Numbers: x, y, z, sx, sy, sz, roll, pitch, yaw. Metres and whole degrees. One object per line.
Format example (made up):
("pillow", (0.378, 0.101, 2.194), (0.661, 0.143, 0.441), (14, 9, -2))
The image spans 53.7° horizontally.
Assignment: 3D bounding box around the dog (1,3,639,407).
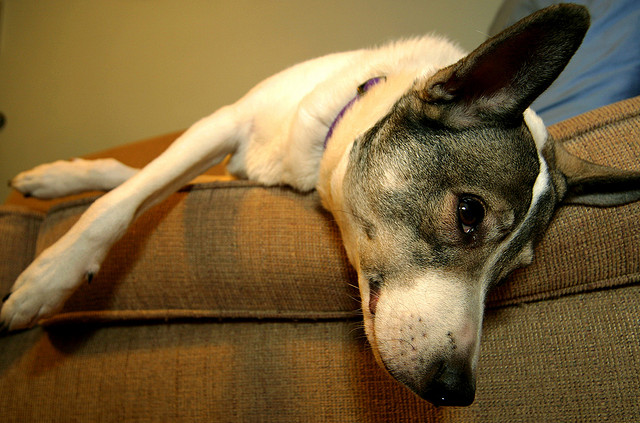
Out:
("dog", (0.213, -0.159, 2.666), (2.157, 1.108, 1.634), (27, 60, 12))
